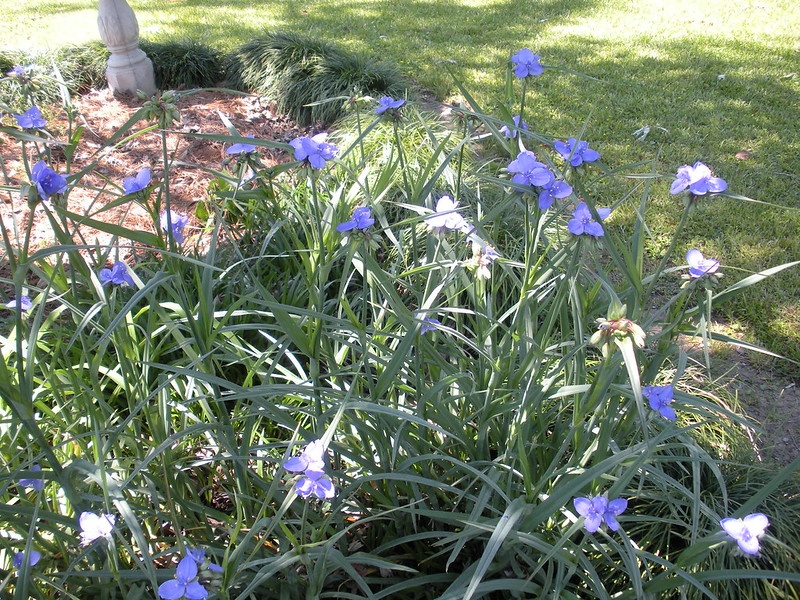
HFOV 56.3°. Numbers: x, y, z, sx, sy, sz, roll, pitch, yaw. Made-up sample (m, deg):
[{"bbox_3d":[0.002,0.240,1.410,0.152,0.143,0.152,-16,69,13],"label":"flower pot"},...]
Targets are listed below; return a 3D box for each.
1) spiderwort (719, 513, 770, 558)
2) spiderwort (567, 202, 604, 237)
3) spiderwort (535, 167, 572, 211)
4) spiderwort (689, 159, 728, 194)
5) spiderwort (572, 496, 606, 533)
[{"bbox_3d":[1.029,0.702,2.247,0.131,0.044,0.161,5,31,45],"label":"spiderwort"},{"bbox_3d":[0.607,-0.262,2.505,0.103,0.054,0.114,10,58,-29],"label":"spiderwort"},{"bbox_3d":[0.526,-0.373,2.538,0.110,0.134,0.139,8,31,15],"label":"spiderwort"},{"bbox_3d":[1.003,-0.405,2.439,0.108,0.100,0.161,12,33,20],"label":"spiderwort"},{"bbox_3d":[0.593,0.669,2.375,0.087,0.053,0.112,-28,71,-9],"label":"spiderwort"}]
